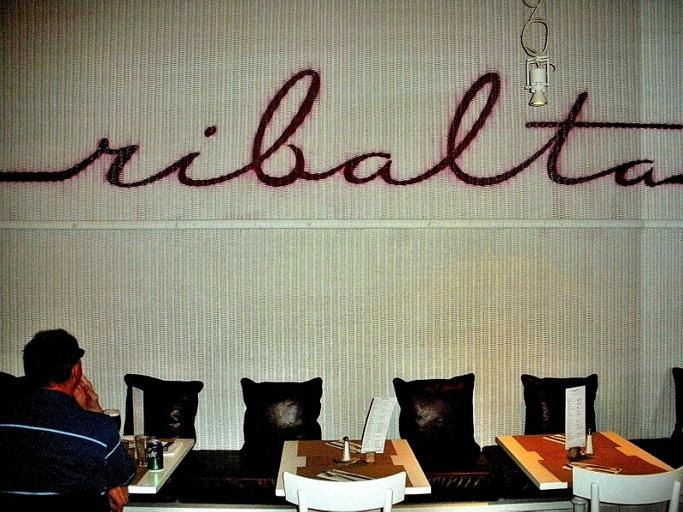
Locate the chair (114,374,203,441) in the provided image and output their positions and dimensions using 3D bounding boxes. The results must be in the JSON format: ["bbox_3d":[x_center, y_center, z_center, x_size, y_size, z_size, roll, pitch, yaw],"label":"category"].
[{"bbox_3d":[-1.583,1.313,7.406,0.657,0.646,0.647,1,-10,-4],"label":"chair"}]

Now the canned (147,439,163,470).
[{"bbox_3d":[-1.425,1.520,6.471,0.129,0.214,0.158,3,-4,-12],"label":"canned"}]
